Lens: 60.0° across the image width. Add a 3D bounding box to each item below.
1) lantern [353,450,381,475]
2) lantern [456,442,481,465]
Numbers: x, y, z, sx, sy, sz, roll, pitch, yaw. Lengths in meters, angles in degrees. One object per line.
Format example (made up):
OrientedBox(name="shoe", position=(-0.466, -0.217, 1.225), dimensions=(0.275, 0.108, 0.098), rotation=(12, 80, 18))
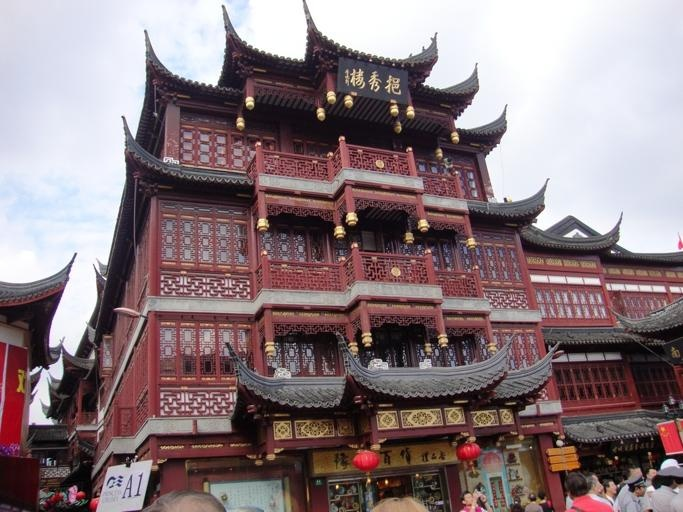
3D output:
OrientedBox(name="lantern", position=(0.593, 5.202, 15.362), dimensions=(0.769, 0.739, 0.750), rotation=(-5, -9, -8))
OrientedBox(name="lantern", position=(3.550, 5.385, 16.430), dimensions=(0.684, 0.701, 0.653), rotation=(-13, -16, 11))
